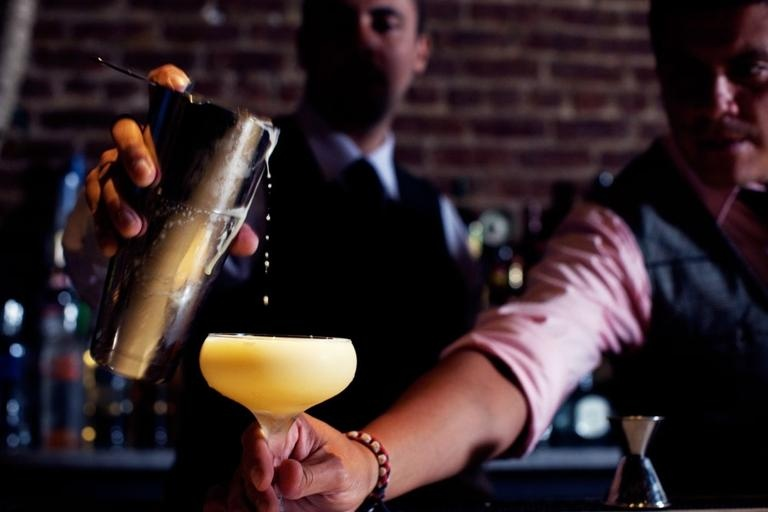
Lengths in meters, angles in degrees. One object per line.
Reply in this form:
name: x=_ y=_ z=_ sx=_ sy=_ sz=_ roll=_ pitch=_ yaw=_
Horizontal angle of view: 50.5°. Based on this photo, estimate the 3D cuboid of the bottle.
bottle: x=0.514 y=0.418 z=1.680 sx=0.186 sy=0.210 sz=0.158 roll=1 pitch=-13 yaw=3

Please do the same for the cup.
cup: x=-0.423 y=-0.047 z=1.651 sx=0.199 sy=0.556 sz=0.393 roll=24 pitch=35 yaw=36
